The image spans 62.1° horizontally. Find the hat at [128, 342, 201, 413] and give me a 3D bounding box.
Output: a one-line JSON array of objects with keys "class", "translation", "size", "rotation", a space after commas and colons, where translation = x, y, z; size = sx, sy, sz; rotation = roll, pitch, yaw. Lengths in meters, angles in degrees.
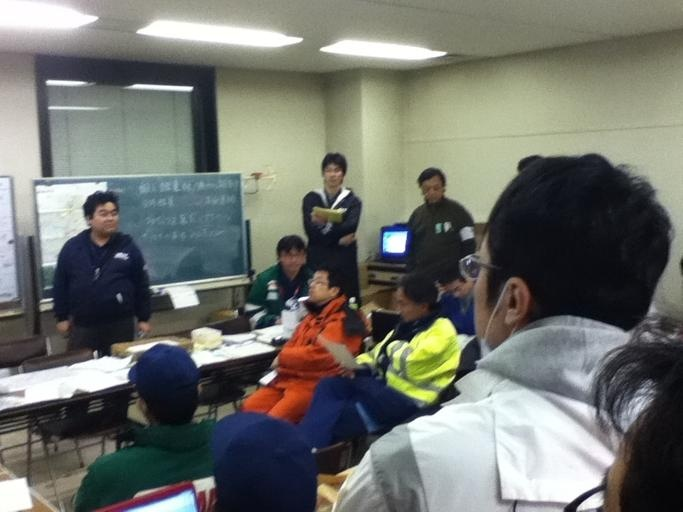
[{"class": "hat", "translation": [-0.434, 0.296, 1.400], "size": [0.130, 0.099, 0.174], "rotation": [-16, 37, -33]}]
